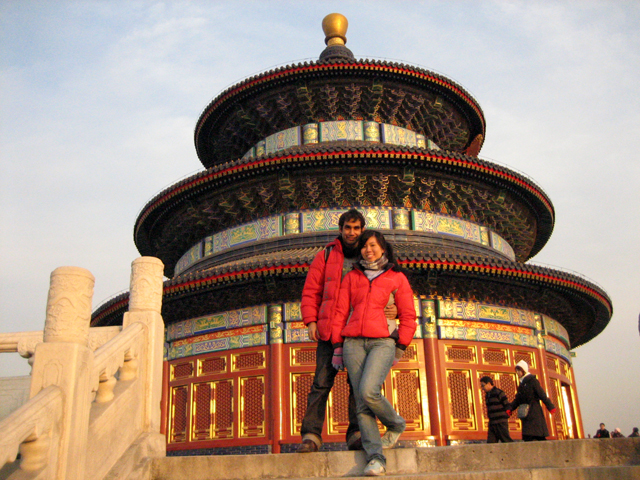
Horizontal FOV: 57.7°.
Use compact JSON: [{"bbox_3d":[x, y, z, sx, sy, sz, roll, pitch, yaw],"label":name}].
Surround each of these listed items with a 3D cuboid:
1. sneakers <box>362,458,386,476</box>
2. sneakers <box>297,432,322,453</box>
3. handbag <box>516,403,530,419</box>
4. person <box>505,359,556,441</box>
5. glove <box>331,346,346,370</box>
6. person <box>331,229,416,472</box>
[{"bbox_3d":[0.499,2.057,5.254,0.158,0.111,0.276,-3,-19,8],"label":"sneakers"},{"bbox_3d":[-0.102,2.033,5.818,0.207,0.180,0.176,-2,-25,-3],"label":"sneakers"},{"bbox_3d":[3.444,2.902,9.846,0.174,0.252,0.088,3,-28,46],"label":"handbag"},{"bbox_3d":[3.603,2.694,10.013,0.655,1.437,1.074,-10,-26,15],"label":"person"},{"bbox_3d":[0.176,1.191,5.814,0.204,0.192,0.158,-5,-2,-4],"label":"glove"},{"bbox_3d":[0.561,1.048,5.685,0.792,2.337,0.663,-16,-28,25],"label":"person"}]
